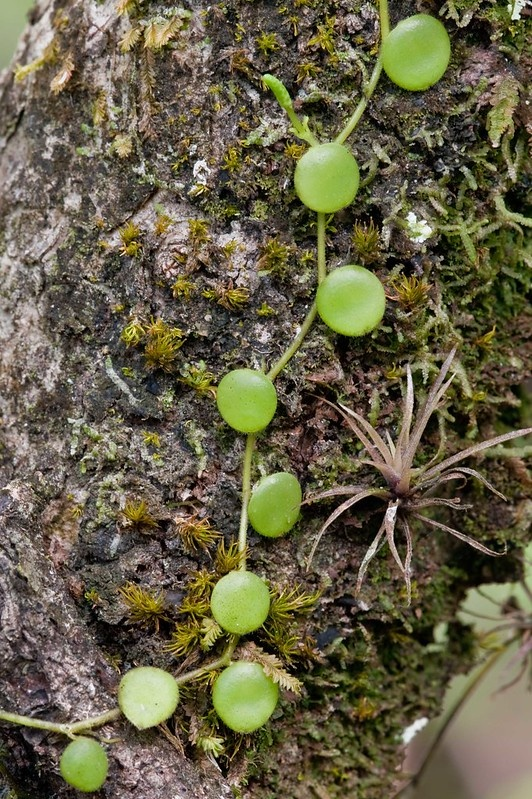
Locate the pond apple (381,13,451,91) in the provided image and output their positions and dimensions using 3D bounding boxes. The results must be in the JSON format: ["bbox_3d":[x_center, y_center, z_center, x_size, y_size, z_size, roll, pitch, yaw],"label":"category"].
[{"bbox_3d":[0.279,-0.645,1.711,0.128,0.109,0.074,-18,51,13],"label":"pond apple"}]

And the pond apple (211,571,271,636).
[{"bbox_3d":[-0.048,0.363,1.676,0.105,0.118,0.107,3,22,20],"label":"pond apple"}]

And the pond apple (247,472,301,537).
[{"bbox_3d":[0.003,0.185,1.745,0.068,0.098,0.119,26,90,57],"label":"pond apple"}]

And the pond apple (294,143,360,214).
[{"bbox_3d":[0.114,-0.404,1.679,0.123,0.065,0.121,11,97,-8],"label":"pond apple"}]

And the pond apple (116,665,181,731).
[{"bbox_3d":[-0.212,0.522,1.613,0.084,0.073,0.099,22,68,36],"label":"pond apple"}]

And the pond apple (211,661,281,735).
[{"bbox_3d":[-0.035,0.529,1.651,0.125,0.070,0.132,15,24,-9],"label":"pond apple"}]

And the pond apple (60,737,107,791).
[{"bbox_3d":[-0.305,0.611,1.531,0.074,0.072,0.089,-3,95,-4],"label":"pond apple"}]

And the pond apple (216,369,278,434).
[{"bbox_3d":[-0.037,0.000,1.697,0.108,0.087,0.089,-35,49,-2],"label":"pond apple"}]
